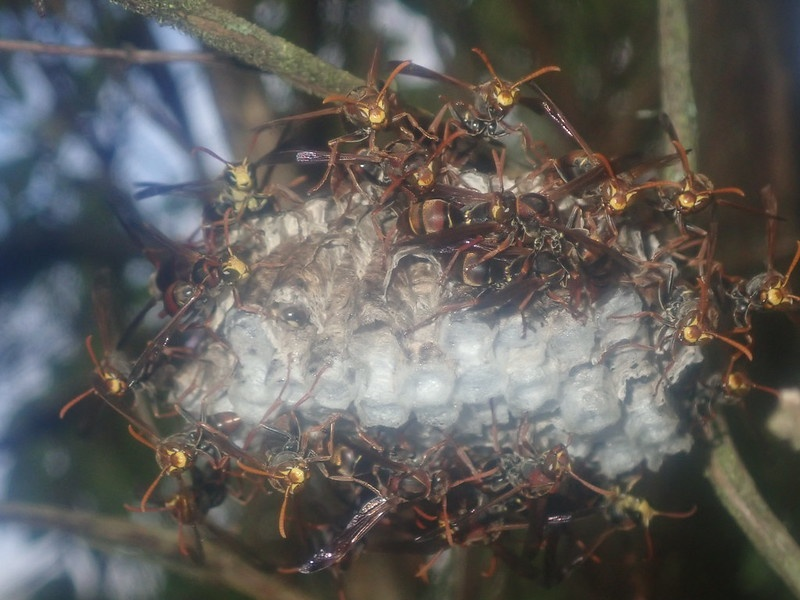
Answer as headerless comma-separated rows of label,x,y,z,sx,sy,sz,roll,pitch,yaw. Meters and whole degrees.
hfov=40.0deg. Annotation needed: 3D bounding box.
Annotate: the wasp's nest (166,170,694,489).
wasp's nest,0.080,0.051,1.797,0.867,0.172,0.404,8,84,0
